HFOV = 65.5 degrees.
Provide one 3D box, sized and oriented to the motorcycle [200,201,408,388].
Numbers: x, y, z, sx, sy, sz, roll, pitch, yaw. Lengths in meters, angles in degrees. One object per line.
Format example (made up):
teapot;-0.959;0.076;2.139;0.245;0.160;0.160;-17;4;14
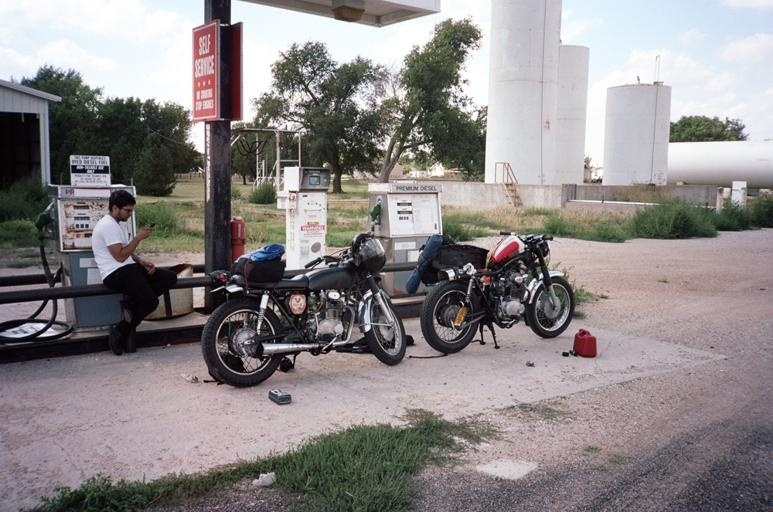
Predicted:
motorcycle;-1.207;0.608;8.148;2.714;1.896;1.415;-8;6;-37

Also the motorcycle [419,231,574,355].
motorcycle;1.657;0.494;8.859;2.588;1.672;0.541;-4;8;-30

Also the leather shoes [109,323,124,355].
leather shoes;-3.602;1.112;8.120;0.189;0.482;0.169;-3;8;7

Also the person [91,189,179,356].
person;-3.386;0.219;7.973;0.964;2.200;0.897;-3;7;-21
